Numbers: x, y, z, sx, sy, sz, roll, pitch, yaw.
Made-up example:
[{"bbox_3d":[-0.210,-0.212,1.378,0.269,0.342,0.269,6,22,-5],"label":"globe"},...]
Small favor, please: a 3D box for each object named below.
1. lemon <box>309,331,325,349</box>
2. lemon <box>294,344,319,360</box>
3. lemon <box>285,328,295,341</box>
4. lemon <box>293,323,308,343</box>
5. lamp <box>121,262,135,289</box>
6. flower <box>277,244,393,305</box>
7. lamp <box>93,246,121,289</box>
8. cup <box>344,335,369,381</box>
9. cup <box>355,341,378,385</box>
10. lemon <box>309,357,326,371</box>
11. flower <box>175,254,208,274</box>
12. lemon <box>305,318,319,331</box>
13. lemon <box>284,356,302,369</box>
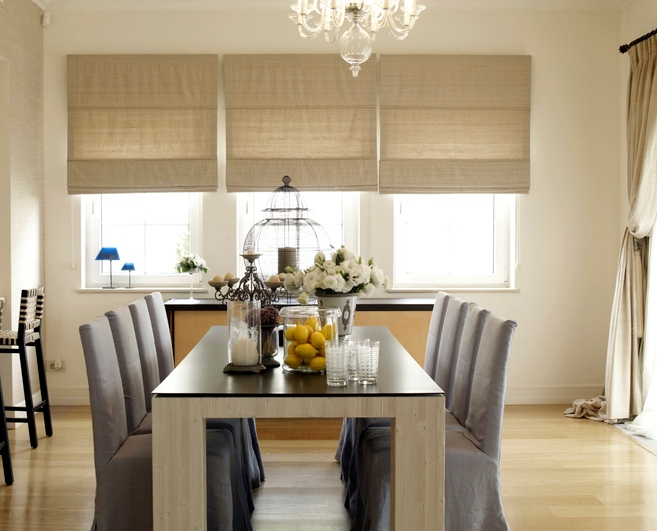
[{"bbox_3d":[-0.050,0.335,2.917,0.047,0.060,0.070,3,26,-5],"label":"lemon"},{"bbox_3d":[-0.098,0.388,2.934,0.079,0.061,0.062,11,1,0],"label":"lemon"},{"bbox_3d":[-0.174,0.314,2.967,0.044,0.063,0.046,-3,-8,33],"label":"lemon"},{"bbox_3d":[-0.112,0.307,2.939,0.062,0.110,0.067,0,-3,3],"label":"lemon"},{"bbox_3d":[-1.679,0.084,5.463,0.104,0.209,0.195,-1,3,-20],"label":"lamp"},{"bbox_3d":[0.014,0.065,3.305,0.349,0.220,0.318,-5,-4,36],"label":"flower"},{"bbox_3d":[-1.829,0.021,5.403,0.186,0.341,0.336,-1,3,-21],"label":"lamp"},{"bbox_3d":[0.118,0.410,2.880,0.129,0.248,0.154,0,-2,13],"label":"cup"},{"bbox_3d":[0.165,0.413,2.769,0.129,0.244,0.149,0,-7,6],"label":"cup"},{"bbox_3d":[-0.049,0.445,2.932,0.056,0.055,0.047,-5,3,-9],"label":"lemon"},{"bbox_3d":[-1.085,0.007,5.161,0.156,0.159,0.167,0,-2,-26],"label":"flower"},{"bbox_3d":[-0.072,0.269,2.932,0.040,0.066,0.046,-6,-6,3],"label":"lemon"},{"bbox_3d":[-0.159,0.441,2.963,0.058,0.052,0.046,20,-21,-35],"label":"lemon"}]
